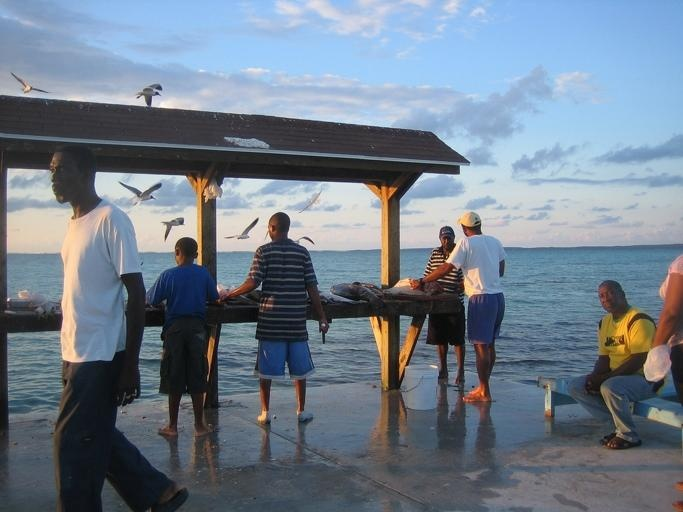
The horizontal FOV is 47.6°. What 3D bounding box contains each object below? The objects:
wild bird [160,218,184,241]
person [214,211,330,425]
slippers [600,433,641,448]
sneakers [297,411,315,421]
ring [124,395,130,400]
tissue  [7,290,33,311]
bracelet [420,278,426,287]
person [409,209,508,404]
[{"bbox_3d":[-2.215,-0.378,10.106,0.294,0.128,0.295,-20,11,24],"label":"wild bird"},{"bbox_3d":[-0.666,0.700,8.642,0.925,2.356,0.346,-1,1,-7],"label":"person"},{"bbox_3d":[2.824,1.860,7.776,0.316,0.092,0.156,2,-3,5],"label":"slippers"},{"bbox_3d":[-0.417,1.823,8.799,0.077,0.092,0.232,-1,0,25],"label":"sneakers"},{"bbox_3d":[-1.580,1.048,5.671,0.030,0.039,0.011,32,4,-21],"label":"ring"},{"bbox_3d":[-3.623,0.499,8.683,0.249,0.153,0.247,2,-5,-33],"label":"tissue "},{"bbox_3d":[1.060,0.345,9.963,0.083,0.114,0.082,2,-1,-17],"label":"bracelet"},{"bbox_3d":[1.614,0.635,9.547,0.800,2.336,0.496,0,1,9],"label":"person"}]
